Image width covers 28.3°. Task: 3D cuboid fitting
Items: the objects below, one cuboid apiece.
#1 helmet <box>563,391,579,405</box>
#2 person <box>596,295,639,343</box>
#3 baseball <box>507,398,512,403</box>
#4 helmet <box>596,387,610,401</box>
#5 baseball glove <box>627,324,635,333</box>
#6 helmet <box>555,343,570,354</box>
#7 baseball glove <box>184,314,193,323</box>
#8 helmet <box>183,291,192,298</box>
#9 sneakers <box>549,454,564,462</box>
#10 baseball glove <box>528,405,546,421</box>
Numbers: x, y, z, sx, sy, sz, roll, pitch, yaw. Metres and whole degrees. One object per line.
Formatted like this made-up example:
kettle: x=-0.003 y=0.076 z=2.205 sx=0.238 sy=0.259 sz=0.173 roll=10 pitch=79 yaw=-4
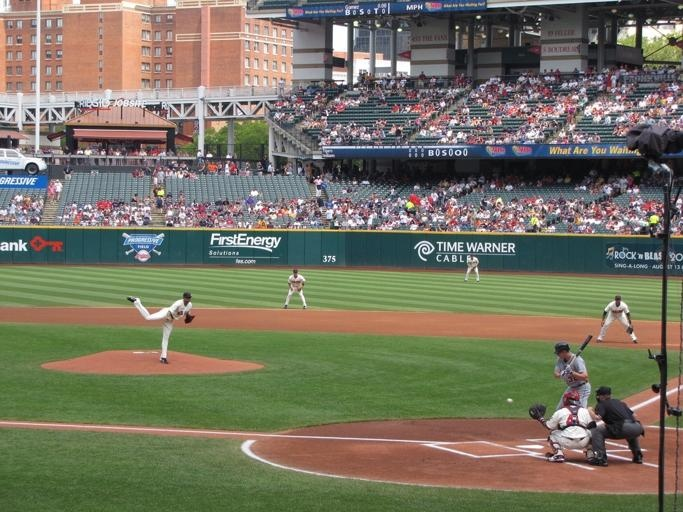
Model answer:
helmet: x=7.551 y=4.704 z=44.604 sx=0.493 sy=0.439 sz=0.370 roll=-11 pitch=15 yaw=-15
person: x=11.170 y=2.585 z=54.967 sx=1.494 sy=1.943 sz=1.124 roll=2 pitch=15 yaw=6
baseball: x=5.939 y=5.196 z=48.133 sx=0.149 sy=0.097 sz=0.179 roll=2 pitch=4 yaw=13
helmet: x=8.605 y=4.569 z=44.602 sx=0.411 sy=0.473 sz=0.495 roll=-9 pitch=17 yaw=-21
baseball glove: x=11.750 y=3.012 z=55.060 sx=0.310 sy=0.381 sz=0.419 roll=0 pitch=2 yaw=3
helmet: x=7.275 y=3.145 z=45.101 sx=0.462 sy=0.237 sz=0.341 roll=7 pitch=16 yaw=23
baseball glove: x=-5.647 y=2.381 z=50.403 sx=0.252 sy=0.390 sz=0.366 roll=11 pitch=-14 yaw=-35
helmet: x=-6.125 y=1.562 z=53.616 sx=0.313 sy=0.364 sz=0.379 roll=1 pitch=10 yaw=-11
sneakers: x=7.006 y=6.625 z=44.195 sx=0.564 sy=0.256 sz=0.204 roll=5 pitch=5 yaw=24
baseball glove: x=6.368 y=5.170 z=44.329 sx=0.483 sy=0.515 sz=0.559 roll=1 pitch=3 yaw=15
